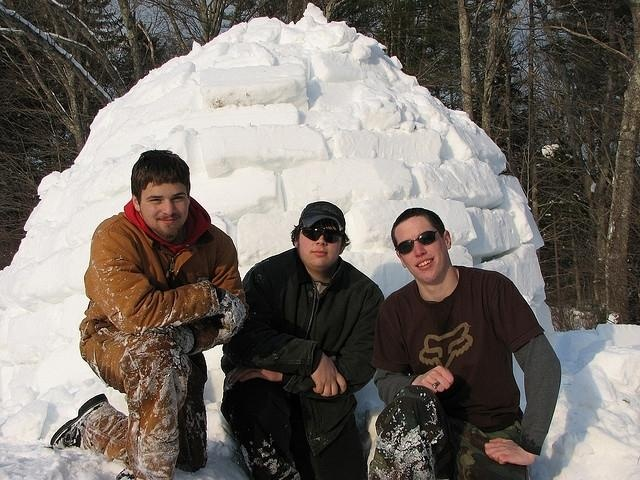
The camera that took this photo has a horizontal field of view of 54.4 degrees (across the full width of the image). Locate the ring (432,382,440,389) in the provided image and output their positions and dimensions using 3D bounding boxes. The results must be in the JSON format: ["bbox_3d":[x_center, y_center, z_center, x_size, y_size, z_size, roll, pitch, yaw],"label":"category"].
[{"bbox_3d":[0.836,1.048,4.515,0.034,0.018,0.045,12,37,45],"label":"ring"}]
